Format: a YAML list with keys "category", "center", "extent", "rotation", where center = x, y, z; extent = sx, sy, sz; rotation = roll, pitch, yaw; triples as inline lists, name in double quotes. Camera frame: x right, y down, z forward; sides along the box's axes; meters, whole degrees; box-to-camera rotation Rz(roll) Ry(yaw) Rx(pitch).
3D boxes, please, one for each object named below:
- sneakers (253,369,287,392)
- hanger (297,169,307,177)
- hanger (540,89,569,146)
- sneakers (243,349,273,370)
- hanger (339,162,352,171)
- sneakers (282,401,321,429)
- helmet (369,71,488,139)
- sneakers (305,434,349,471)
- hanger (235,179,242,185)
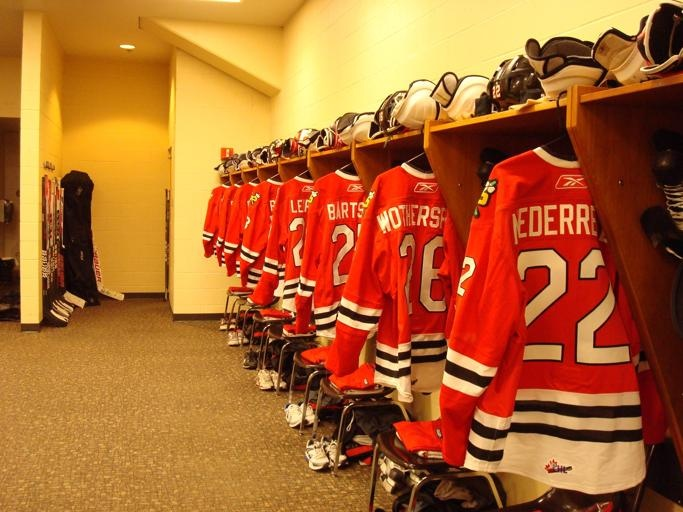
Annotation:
- category: "sneakers"
  center: [-0.610, 1.065, 4.507]
  extent: [0.142, 0.135, 0.349]
  rotation: [6, -8, -25]
- category: "hanger"
  center: [-0.310, -0.644, 4.175]
  extent: [0.081, 0.081, 0.104]
  rotation: [0, -17, -4]
- category: "hanger"
  center: [0.752, -0.474, 1.828]
  extent: [0.045, 0.182, 0.130]
  rotation: [-1, 3, -17]
- category: "sneakers"
  center: [-0.801, 0.977, 5.003]
  extent: [0.166, 0.192, 0.454]
  rotation: [6, -8, -20]
- category: "hanger"
  center: [0.033, -0.568, 3.401]
  extent: [0.072, 0.049, 0.108]
  rotation: [2, 5, 7]
- category: "sneakers"
  center: [-0.305, 1.127, 3.779]
  extent: [0.163, 0.093, 0.261]
  rotation: [1, -7, -16]
- category: "helmet"
  center: [0.389, -0.628, 2.292]
  extent: [0.420, 0.177, 0.346]
  rotation: [-19, 0, 14]
- category: "sneakers"
  center: [-0.113, 1.186, 3.160]
  extent: [0.172, 0.096, 0.243]
  rotation: [2, -5, -27]
- category: "hanger"
  center: [-1.243, -0.873, 6.333]
  extent: [0.078, 0.082, 0.064]
  rotation: [2, 5, 17]
